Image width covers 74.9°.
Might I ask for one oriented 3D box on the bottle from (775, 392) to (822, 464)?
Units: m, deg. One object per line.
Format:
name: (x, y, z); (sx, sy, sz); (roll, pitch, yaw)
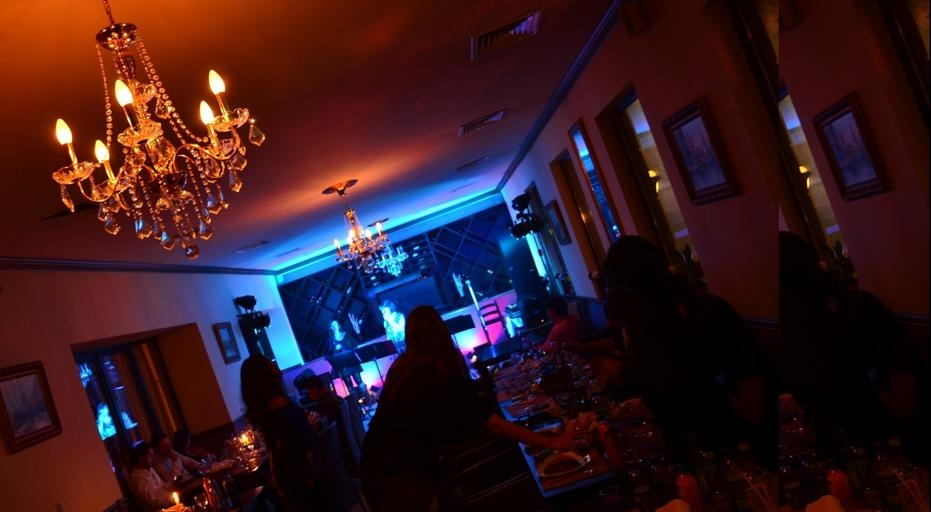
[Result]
bottle: (1.012, 0.519, 1.861); (0.059, 0.215, 0.264); (-24, -24, 31)

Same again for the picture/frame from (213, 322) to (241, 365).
picture/frame: (-3.687, 1.360, 9.614); (0.089, 0.643, 0.915); (-15, -2, -41)

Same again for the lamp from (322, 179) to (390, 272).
lamp: (-1.542, -0.357, 8.449); (0.779, 1.275, 0.756); (-11, 9, 26)

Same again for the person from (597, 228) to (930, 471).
person: (0.822, 0.264, 1.808); (0.810, 0.703, 0.259); (-23, -11, 37)

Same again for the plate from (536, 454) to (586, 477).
plate: (0.461, 0.999, 2.895); (0.239, 0.077, 0.150); (-15, -9, 0)

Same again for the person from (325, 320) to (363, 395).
person: (-1.819, 1.617, 9.373); (0.473, 1.311, 0.383); (-19, 3, -17)

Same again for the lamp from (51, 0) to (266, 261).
lamp: (-1.982, -0.823, 3.869); (0.752, 1.300, 0.736); (-12, -31, -39)
